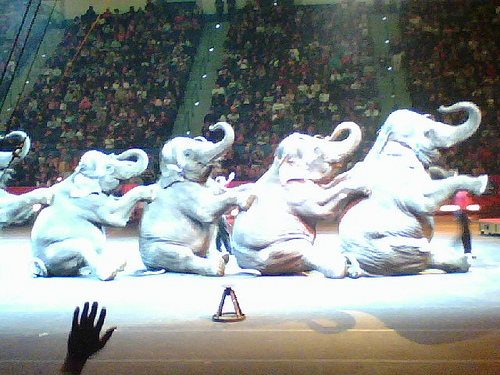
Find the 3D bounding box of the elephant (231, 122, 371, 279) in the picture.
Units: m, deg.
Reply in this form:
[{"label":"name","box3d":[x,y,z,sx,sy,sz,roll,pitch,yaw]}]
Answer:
[{"label":"elephant","box3d":[0.830,0.150,6.726,2.059,1.779,1.212,-4,16,29]}]

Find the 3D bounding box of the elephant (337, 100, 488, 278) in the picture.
[{"label":"elephant","box3d":[1.941,0.013,6.354,1.632,2.077,0.720,-2,9,-8]}]

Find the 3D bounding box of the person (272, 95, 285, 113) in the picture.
[{"label":"person","box3d":[0.950,-2.744,16.925,0.624,0.685,0.379,-1,-37,4]}]
